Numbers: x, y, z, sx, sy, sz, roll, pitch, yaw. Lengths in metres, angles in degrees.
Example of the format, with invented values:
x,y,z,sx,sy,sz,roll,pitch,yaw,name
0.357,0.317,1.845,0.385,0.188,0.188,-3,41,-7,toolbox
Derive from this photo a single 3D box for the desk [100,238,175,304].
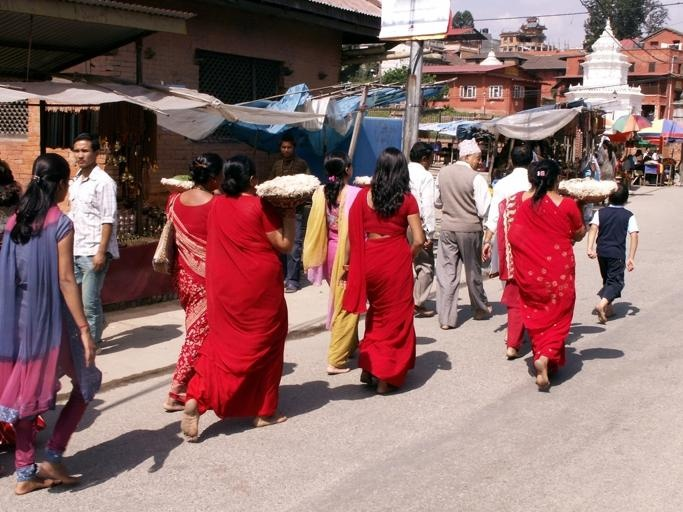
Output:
x,y,z,sx,sy,sz,roll,pitch,yaw,name
-2.465,0.267,8.048,0.890,0.382,0.871,3,11,15,desk

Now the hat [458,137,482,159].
x,y,z,sx,sy,sz,roll,pitch,yaw,name
1.497,-1.276,7.753,0.265,0.241,0.199,-15,14,13,hat
